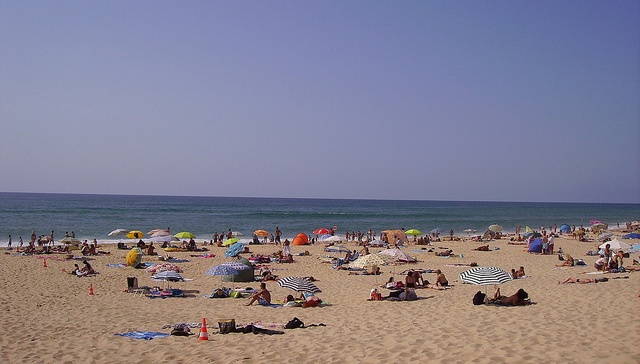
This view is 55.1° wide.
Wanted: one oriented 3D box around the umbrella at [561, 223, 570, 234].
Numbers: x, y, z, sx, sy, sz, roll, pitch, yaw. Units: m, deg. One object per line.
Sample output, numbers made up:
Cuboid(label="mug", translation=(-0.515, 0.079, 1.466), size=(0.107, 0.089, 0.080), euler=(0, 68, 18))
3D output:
Cuboid(label="umbrella", translation=(27.265, 5.314, 67.811), size=(0.377, 0.963, 1.099), euler=(-3, 21, -41))

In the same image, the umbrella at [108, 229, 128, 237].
Cuboid(label="umbrella", translation=(-20.013, 5.115, 60.497), size=(2.119, 0.610, 2.010), euler=(-1, 4, 12))

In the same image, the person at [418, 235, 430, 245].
Cuboid(label="person", translation=(10.529, 6.018, 62.098), size=(1.021, 0.556, 0.909), euler=(-1, -5, 1))

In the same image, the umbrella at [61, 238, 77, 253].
Cuboid(label="umbrella", translation=(-21.776, 5.383, 53.030), size=(0.848, 1.515, 1.642), euler=(-24, -6, -13))

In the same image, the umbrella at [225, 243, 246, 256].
Cuboid(label="umbrella", translation=(-6.457, 5.148, 46.130), size=(1.198, 0.987, 1.839), euler=(0, -1, -2))

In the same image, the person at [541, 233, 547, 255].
Cuboid(label="person", translation=(19.356, 5.527, 52.813), size=(0.526, 1.422, 1.239), euler=(-1, -2, 19))

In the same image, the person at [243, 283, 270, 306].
Cuboid(label="person", translation=(-3.817, 7.024, 38.125), size=(1.433, 1.374, 0.578), euler=(0, -2, -6))

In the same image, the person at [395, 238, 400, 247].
Cuboid(label="person", translation=(7.550, 5.957, 59.380), size=(0.740, 0.867, 0.509), euler=(0, -3, -2))

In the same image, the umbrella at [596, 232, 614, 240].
Cuboid(label="umbrella", translation=(29.022, 5.577, 62.471), size=(1.798, 0.538, 1.380), euler=(-6, -2, 34))

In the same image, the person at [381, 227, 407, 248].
Cuboid(label="person", translation=(7.440, 5.495, 60.117), size=(1.676, 0.996, 1.870), euler=(-2, 3, -20))

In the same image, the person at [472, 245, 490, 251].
Cuboid(label="person", translation=(14.778, 6.058, 56.094), size=(1.421, 0.447, 2.103), euler=(-1, -2, 15))

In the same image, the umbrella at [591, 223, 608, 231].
Cuboid(label="umbrella", translation=(32.209, 5.242, 70.481), size=(1.182, 0.428, 1.223), euler=(-2, 2, 44))

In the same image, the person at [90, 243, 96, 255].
Cuboid(label="person", translation=(-19.137, 5.737, 51.515), size=(0.601, 0.736, 1.096), euler=(0, -2, -21))

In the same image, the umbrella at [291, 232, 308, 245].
Cuboid(label="umbrella", translation=(-1.920, 5.732, 60.084), size=(1.437, 0.946, 0.692), euler=(1, -2, -25))

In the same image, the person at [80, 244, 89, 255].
Cuboid(label="person", translation=(-19.661, 5.732, 51.245), size=(0.576, 0.869, 1.417), euler=(0, -2, -24))

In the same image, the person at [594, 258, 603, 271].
Cuboid(label="person", translation=(19.779, 5.855, 43.320), size=(0.552, 0.881, 0.815), euler=(-1, -2, 19))

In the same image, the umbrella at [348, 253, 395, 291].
Cuboid(label="umbrella", translation=(3.496, 5.579, 40.550), size=(2.350, 1.381, 2.406), euler=(-12, -14, 42))

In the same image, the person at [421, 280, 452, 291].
Cuboid(label="person", translation=(7.735, 7.002, 40.650), size=(1.230, 0.344, 0.811), euler=(3, 3, 43))

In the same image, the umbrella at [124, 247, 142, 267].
Cuboid(label="umbrella", translation=(-14.141, 5.820, 46.395), size=(0.990, 1.414, 0.727), euler=(0, -2, -10))

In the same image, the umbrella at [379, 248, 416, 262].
Cuboid(label="umbrella", translation=(5.474, 5.313, 44.229), size=(1.642, 0.609, 1.578), euler=(3, -1, -42))

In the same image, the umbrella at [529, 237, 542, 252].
Cuboid(label="umbrella", translation=(18.761, 5.608, 53.288), size=(1.138, 1.120, 0.831), euler=(-1, -2, 16))

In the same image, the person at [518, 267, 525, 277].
Cuboid(label="person", translation=(14.225, 6.333, 43.228), size=(0.542, 0.601, 1.284), euler=(-1, -2, 18))

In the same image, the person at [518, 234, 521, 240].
Cuboid(label="person", translation=(20.822, 5.811, 63.993), size=(0.271, 0.676, 0.745), euler=(10, 10, 29))

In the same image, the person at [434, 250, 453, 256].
Cuboid(label="person", translation=(10.875, 6.211, 52.740), size=(1.123, 0.361, 0.655), euler=(-1, 2, -37))

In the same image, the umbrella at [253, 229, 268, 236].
Cuboid(label="umbrella", translation=(-5.579, 4.861, 57.161), size=(1.109, 0.329, 1.114), euler=(1, -2, 37))

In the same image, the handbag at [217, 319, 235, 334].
Cuboid(label="handbag", translation=(-5.368, 8.240, 34.621), size=(0.887, 0.577, 0.715), euler=(-3, -3, 18))

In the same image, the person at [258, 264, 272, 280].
Cuboid(label="person", translation=(-3.889, 6.498, 43.422), size=(0.730, 0.912, 1.465), euler=(0, -2, -14))
